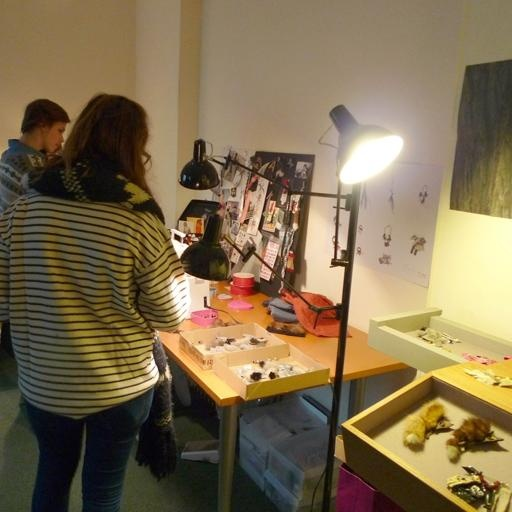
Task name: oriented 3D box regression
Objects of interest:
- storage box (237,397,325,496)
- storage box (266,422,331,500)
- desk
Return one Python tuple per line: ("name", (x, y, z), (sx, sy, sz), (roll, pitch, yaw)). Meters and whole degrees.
("storage box", (0.187, 0.903, 2.084), (0.292, 0.233, 0.413), (-5, 16, -28))
("storage box", (0.193, 0.906, 1.964), (0.194, 0.214, 0.285), (2, 6, -24))
("desk", (0.121, 0.463, 1.874), (0.760, 0.560, 1.051), (-1, 11, -25))
